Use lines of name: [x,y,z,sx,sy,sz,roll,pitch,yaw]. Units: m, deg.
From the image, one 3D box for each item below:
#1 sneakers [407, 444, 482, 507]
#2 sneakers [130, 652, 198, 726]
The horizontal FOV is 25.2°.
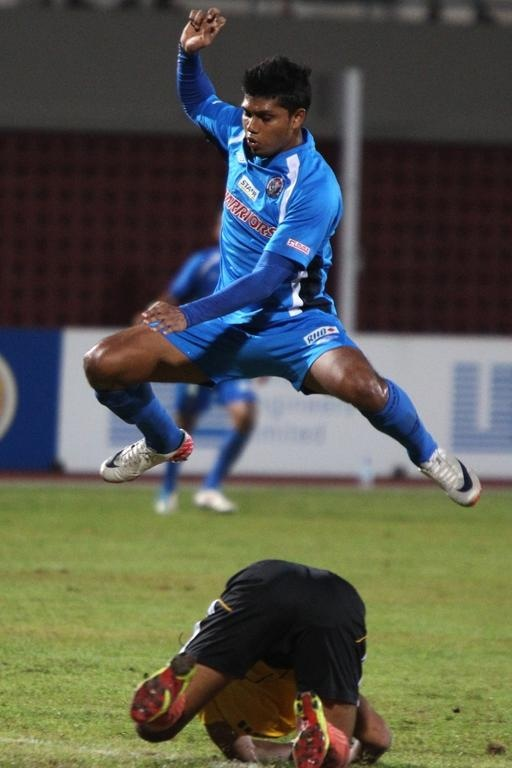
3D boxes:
sneakers: [0.742,0.349,4.321,0.346,0.115,0.151,40,15,2]
sneakers: [-0.221,0.778,2.893,0.138,0.082,0.207,11,45,18]
